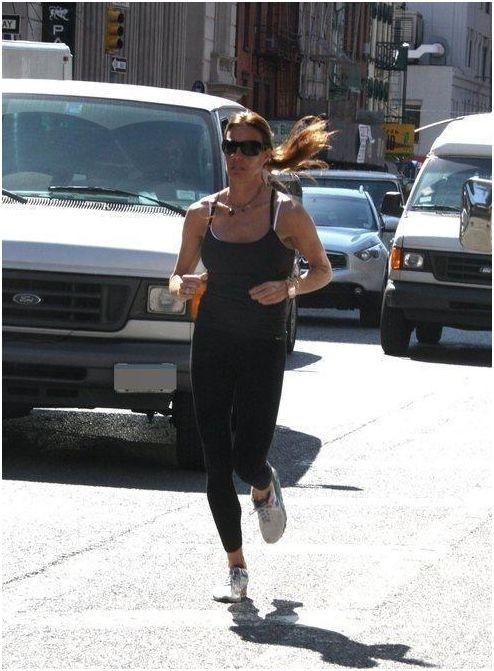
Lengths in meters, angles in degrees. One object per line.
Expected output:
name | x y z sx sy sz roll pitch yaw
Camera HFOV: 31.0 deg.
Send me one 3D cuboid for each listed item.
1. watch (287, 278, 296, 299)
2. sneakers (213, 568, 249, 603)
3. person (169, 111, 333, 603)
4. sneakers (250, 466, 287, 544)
watch | 0.160 -0.165 3.177 0.044 0.055 0.063 -3 23 -9
sneakers | -0.044 0.874 3.089 0.067 0.072 0.172 2 9 2
person | -0.016 0.047 3.282 0.610 1.792 0.635 3 7 4
sneakers | 0.106 0.634 3.407 0.113 0.304 0.146 -14 4 18
